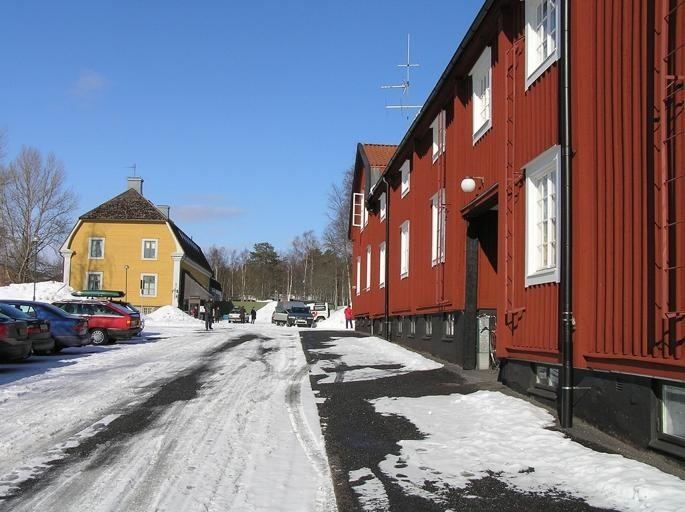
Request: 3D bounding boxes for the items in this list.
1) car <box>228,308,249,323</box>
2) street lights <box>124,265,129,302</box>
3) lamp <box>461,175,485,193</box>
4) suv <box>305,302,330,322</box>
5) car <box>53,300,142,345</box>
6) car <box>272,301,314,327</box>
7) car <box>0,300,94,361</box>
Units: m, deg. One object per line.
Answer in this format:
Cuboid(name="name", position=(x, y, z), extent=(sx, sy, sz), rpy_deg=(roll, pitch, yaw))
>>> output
Cuboid(name="car", position=(-9.357, 5.274, 53.152), extent=(0.888, 0.992, 2.188), rpy_deg=(1, -1, 0))
Cuboid(name="street lights", position=(-17.868, 1.943, 49.746), extent=(0.423, 2.544, 0.427), rpy_deg=(0, 1, -22))
Cuboid(name="lamp", position=(2.847, -1.619, 13.308), extent=(0.324, 0.354, 0.576), rpy_deg=(3, 3, 31))
Cuboid(name="suv", position=(-2.156, 5.189, 57.434), extent=(1.984, 1.432, 1.391), rpy_deg=(4, -8, -13))
Cuboid(name="car", position=(-8.859, 2.349, 21.738), extent=(2.776, 1.183, 1.395), rpy_deg=(3, -5, 0))
Cuboid(name="car", position=(-3.589, 4.130, 43.925), extent=(1.618, 1.369, 2.562), rpy_deg=(2, -9, -23))
Cuboid(name="car", position=(-8.828, 2.140, 18.339), extent=(1.737, 1.511, 1.011), rpy_deg=(0, 1, 14))
